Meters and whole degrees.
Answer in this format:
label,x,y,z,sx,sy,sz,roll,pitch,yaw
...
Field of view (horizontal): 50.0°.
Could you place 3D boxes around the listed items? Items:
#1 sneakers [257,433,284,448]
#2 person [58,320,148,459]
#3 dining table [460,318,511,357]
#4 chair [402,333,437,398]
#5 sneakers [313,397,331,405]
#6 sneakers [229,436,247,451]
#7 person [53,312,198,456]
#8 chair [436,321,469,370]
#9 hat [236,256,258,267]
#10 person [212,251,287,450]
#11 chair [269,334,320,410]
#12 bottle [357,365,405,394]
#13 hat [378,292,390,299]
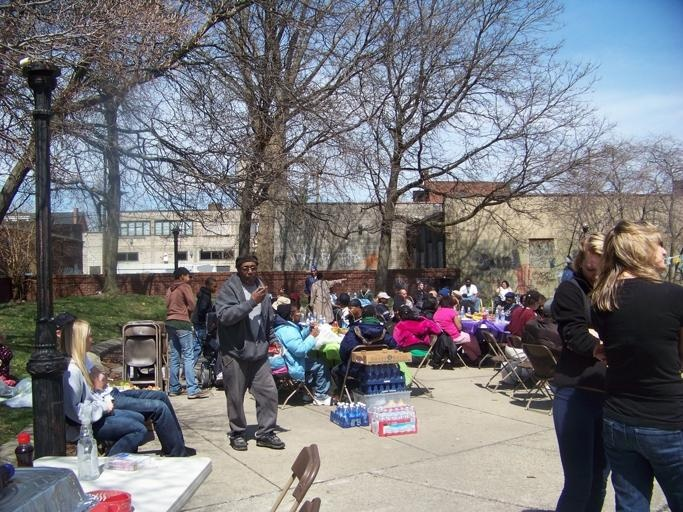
label,x,y,z,sx,sy,sz,roll,pitch,yaw
sneakers,-0.906,2.327,9.332,0.374,0.198,0.156,0,-1,23
person,-2.625,1.599,8.012,0.892,1.827,0.764,1,8,-13
dining table,3.021,1.745,15.531,0.751,0.533,0.807,0,-1,9
chair,1.493,2.144,14.483,0.848,1.208,0.844,12,-14,5
sneakers,-0.323,2.299,11.732,0.279,0.139,0.111,0,-3,2
sneakers,-1.332,2.326,9.215,0.300,0.169,0.151,-4,-3,25
person,-2.365,1.537,8.206,1.452,1.683,0.815,-5,8,-19
chair,2.212,1.884,15.201,0.608,0.856,1.172,-3,-3,9
hat,-1.224,0.053,9.279,0.176,0.095,0.175,1,-4,-39
person,-1.110,1.236,9.299,0.835,2.439,1.084,-1,1,25
chair,-0.719,1.849,11.803,0.624,0.853,1.096,-4,-20,-13
bottle,0.564,1.749,10.557,0.456,0.302,0.464,0,-6,0
hat,1.191,1.170,21.700,0.254,0.140,0.404,2,-5,-17
